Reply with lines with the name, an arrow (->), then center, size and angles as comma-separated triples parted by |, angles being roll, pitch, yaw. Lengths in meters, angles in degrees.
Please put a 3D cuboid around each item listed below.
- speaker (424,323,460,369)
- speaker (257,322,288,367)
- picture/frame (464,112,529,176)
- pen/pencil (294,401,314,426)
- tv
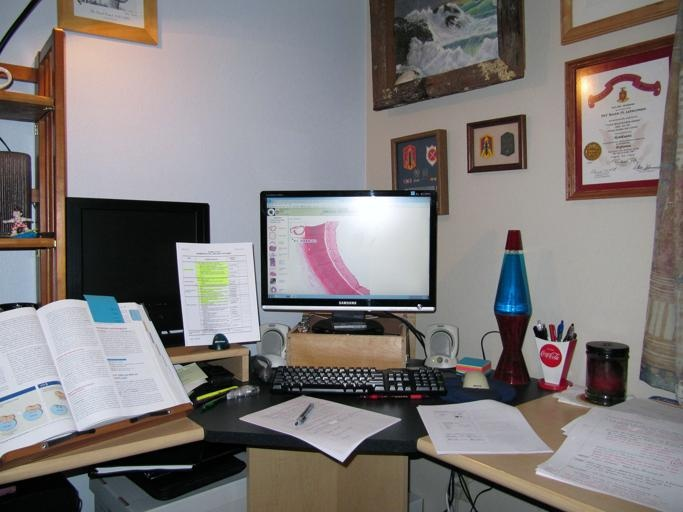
speaker -> 0.358, 0.316, 1.862 | 0.114, 0.140, 0.144 | -5, -15, 26
speaker -> -0.248, 0.313, 1.851 | 0.098, 0.132, 0.034 | 0, -4, 11
picture/frame -> 0.564, -0.404, 1.882 | 0.249, 0.226, 0.028 | -1, -1, 42
pen/pencil -> -0.107, 0.431, 1.435 | 0.017, 0.018, 0.074 | 11, 20, 14
tv -> 0.024, 0.008, 1.824 | 0.517, 0.402, 0.157 | 0, 0, 4
